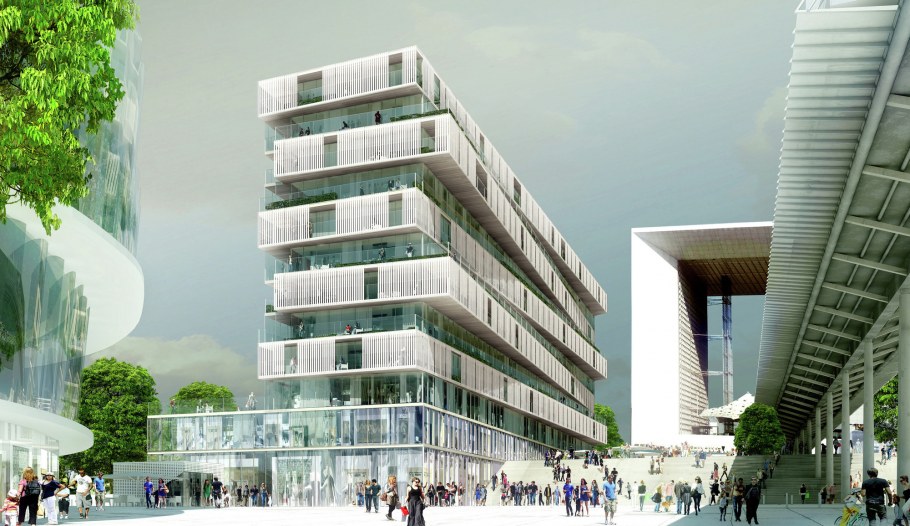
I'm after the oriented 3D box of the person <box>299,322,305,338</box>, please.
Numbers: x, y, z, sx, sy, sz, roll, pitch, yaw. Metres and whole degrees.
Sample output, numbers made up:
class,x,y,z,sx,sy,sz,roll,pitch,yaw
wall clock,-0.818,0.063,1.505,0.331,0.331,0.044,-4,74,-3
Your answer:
class,x,y,z,sx,sy,sz,roll,pitch,yaw
person,-11.061,4.821,78.729,0.530,0.963,0.188,-10,-22,23

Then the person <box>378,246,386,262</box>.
class,x,y,z,sx,sy,sz,roll,pitch,yaw
person,-5.167,-0.546,77.770,0.544,0.992,0.143,-5,-21,10

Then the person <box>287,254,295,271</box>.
class,x,y,z,sx,sy,sz,roll,pitch,yaw
person,-11.965,0.088,79.806,1.010,0.916,0.243,2,-3,43

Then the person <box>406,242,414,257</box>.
class,x,y,z,sx,sy,sz,roll,pitch,yaw
person,-3.126,-0.773,77.371,0.649,0.885,0.235,-3,-21,4

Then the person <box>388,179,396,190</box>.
class,x,y,z,sx,sy,sz,roll,pitch,yaw
person,-4.429,-5.510,77.947,0.653,0.702,0.697,-7,-1,37

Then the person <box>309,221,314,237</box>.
class,x,y,z,sx,sy,sz,roll,pitch,yaw
person,-10.357,-2.308,78.766,0.273,1.126,0.098,-8,-21,17
